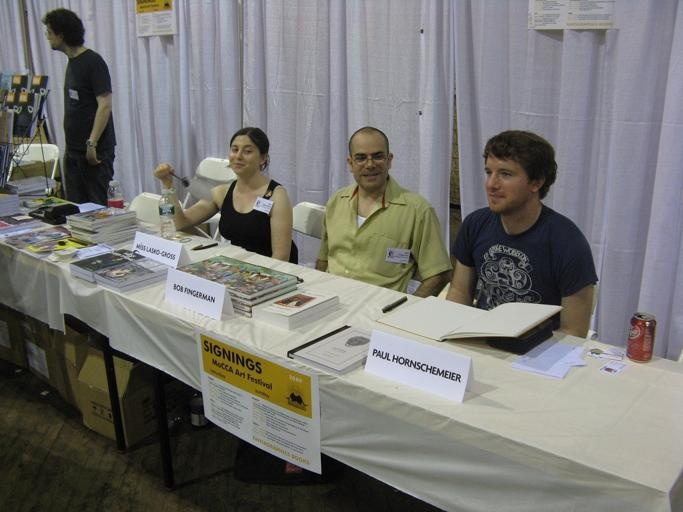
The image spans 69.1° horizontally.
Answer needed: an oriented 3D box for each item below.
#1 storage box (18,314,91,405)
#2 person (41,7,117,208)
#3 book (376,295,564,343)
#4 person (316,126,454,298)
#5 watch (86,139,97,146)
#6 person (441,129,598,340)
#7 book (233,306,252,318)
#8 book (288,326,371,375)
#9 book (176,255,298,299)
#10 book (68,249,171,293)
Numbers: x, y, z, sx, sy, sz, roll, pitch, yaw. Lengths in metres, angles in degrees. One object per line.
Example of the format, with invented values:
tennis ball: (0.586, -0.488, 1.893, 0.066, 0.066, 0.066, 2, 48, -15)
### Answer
storage box: (-1.543, 0.558, 2.675, 0.399, 0.375, 0.156, 29, 38, 35)
person: (-2.190, -1.228, 4.177, 0.521, 1.609, 0.415, -1, 15, -5)
book: (0.432, 0.225, 1.737, 0.384, 0.059, 0.267, 15, 21, 38)
person: (0.265, -0.250, 2.725, 0.899, 0.930, 0.500, 13, 23, 38)
watch: (-2.068, -0.936, 4.101, 0.069, 0.045, 0.070, 11, -10, 3)
person: (0.709, -0.069, 2.033, 0.512, 0.861, 0.625, -19, 23, -40)
book: (-0.378, 0.216, 1.913, 0.045, 0.011, 0.047, 7, 9, 29)
book: (-0.015, 0.307, 1.643, 0.130, 0.017, 0.156, 13, 23, 38)
book: (-0.429, 0.080, 2.053, 0.308, 0.033, 0.222, 17, 25, 36)
book: (-0.979, 0.055, 2.218, 0.279, 0.049, 0.190, 16, 23, 37)
